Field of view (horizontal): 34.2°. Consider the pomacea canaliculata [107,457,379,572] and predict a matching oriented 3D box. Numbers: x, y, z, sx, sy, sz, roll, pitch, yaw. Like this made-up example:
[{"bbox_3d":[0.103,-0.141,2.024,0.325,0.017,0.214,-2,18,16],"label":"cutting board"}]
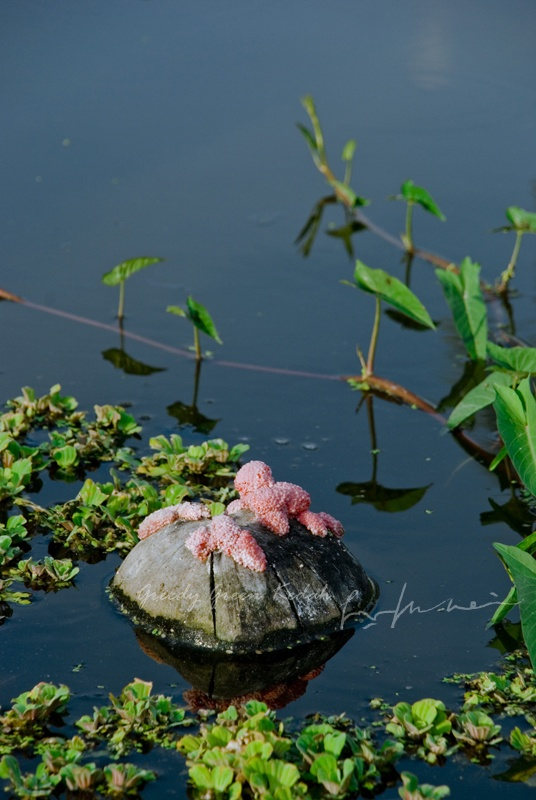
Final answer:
[{"bbox_3d":[-0.101,0.541,4.092,0.677,0.164,0.590,-6,19,2],"label":"pomacea canaliculata"}]
